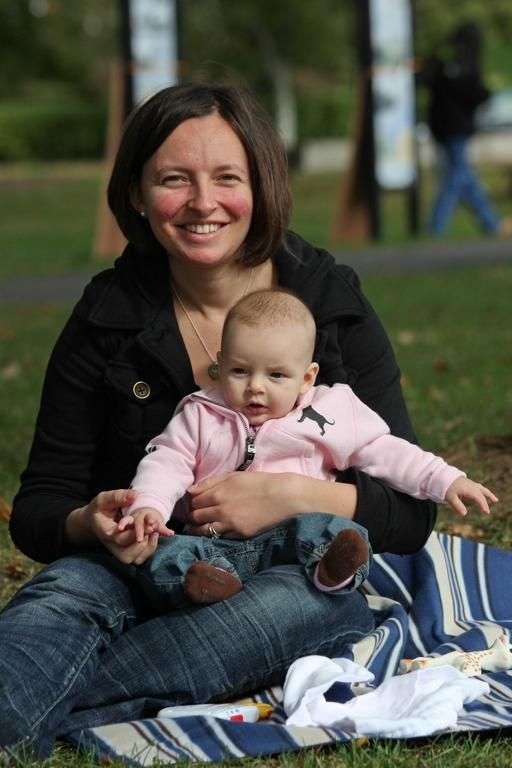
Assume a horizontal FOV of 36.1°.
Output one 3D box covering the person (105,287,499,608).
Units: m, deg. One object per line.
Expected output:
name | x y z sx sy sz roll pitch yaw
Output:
person | 0.032 0.141 2.320 1.271 0.909 0.812 0 -9 3

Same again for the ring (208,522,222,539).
ring | -0.113 0.389 2.099 0.032 0.050 0.023 1 10 4

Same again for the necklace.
necklace | -0.151 -0.195 2.431 0.132 0.357 0.219 -11 -30 13

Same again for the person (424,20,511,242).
person | 2.288 -2.881 8.903 0.630 2.336 1.244 8 13 36
